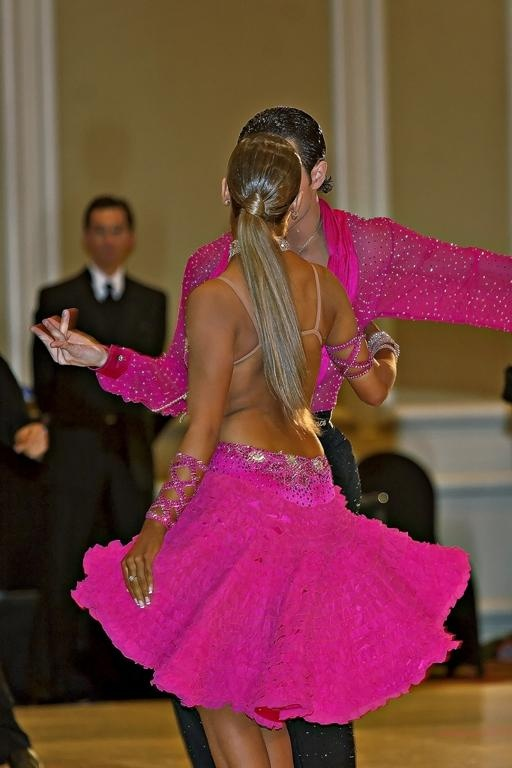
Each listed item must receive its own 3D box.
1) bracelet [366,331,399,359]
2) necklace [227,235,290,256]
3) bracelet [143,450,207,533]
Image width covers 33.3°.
[{"bbox_3d":[0.305,-0.087,2.029,0.067,0.073,0.051,-11,41,7],"label":"bracelet"},{"bbox_3d":[0.004,-0.248,1.553,0.078,0.020,0.058,-10,0,-1],"label":"necklace"},{"bbox_3d":[-0.133,0.179,1.445,0.092,0.136,0.047,25,5,-6],"label":"bracelet"}]
